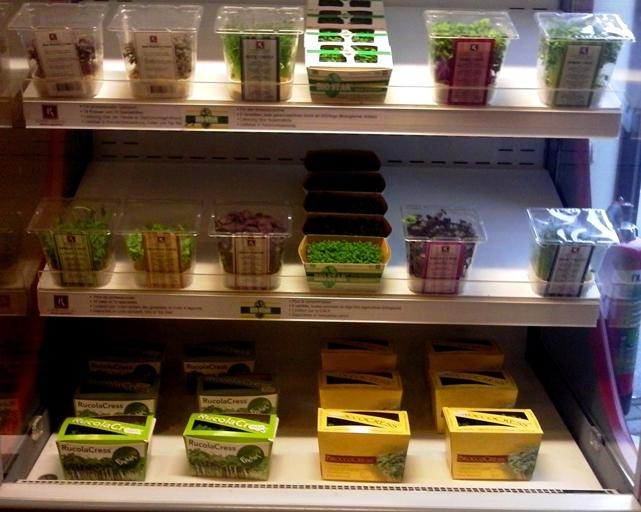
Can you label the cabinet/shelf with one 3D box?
[{"bbox_3d":[0.001,0.028,1.758,1.692,1.307,0.927,0,32,-2],"label":"cabinet/shelf"}]
